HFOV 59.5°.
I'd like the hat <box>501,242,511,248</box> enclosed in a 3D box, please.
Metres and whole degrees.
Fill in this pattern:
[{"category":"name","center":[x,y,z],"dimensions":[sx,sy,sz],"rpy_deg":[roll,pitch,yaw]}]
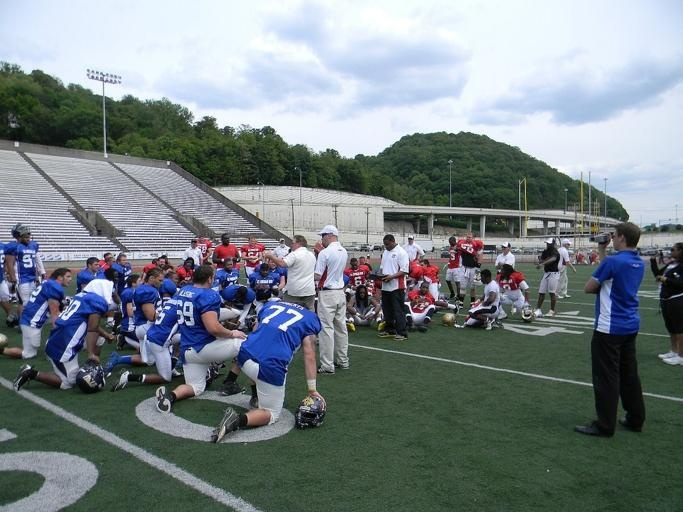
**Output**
[{"category":"hat","center":[3.800,-0.242,13.706],"dimensions":[0.205,0.117,0.127],"rpy_deg":[10,-9,-34]}]

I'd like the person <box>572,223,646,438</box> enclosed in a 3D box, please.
[{"category":"person","center":[3.100,0.832,6.773],"dimensions":[0.746,2.384,0.486],"rpy_deg":[-2,9,-19]}]

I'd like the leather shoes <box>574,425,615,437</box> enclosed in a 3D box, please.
[{"category":"leather shoes","center":[2.862,1.951,6.752],"dimensions":[0.366,0.159,0.148],"rpy_deg":[3,-9,31]}]

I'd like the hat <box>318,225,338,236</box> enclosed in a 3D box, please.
[{"category":"hat","center":[-0.212,-0.366,9.081],"dimensions":[0.231,0.129,0.178],"rpy_deg":[5,1,18]}]

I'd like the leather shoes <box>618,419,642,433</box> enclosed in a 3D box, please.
[{"category":"leather shoes","center":[3.356,1.958,6.911],"dimensions":[0.085,0.102,0.230],"rpy_deg":[-15,14,-19]}]

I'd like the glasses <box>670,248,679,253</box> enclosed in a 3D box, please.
[{"category":"glasses","center":[5.279,-0.081,9.441],"dimensions":[0.084,0.064,0.063],"rpy_deg":[5,-8,-36]}]
